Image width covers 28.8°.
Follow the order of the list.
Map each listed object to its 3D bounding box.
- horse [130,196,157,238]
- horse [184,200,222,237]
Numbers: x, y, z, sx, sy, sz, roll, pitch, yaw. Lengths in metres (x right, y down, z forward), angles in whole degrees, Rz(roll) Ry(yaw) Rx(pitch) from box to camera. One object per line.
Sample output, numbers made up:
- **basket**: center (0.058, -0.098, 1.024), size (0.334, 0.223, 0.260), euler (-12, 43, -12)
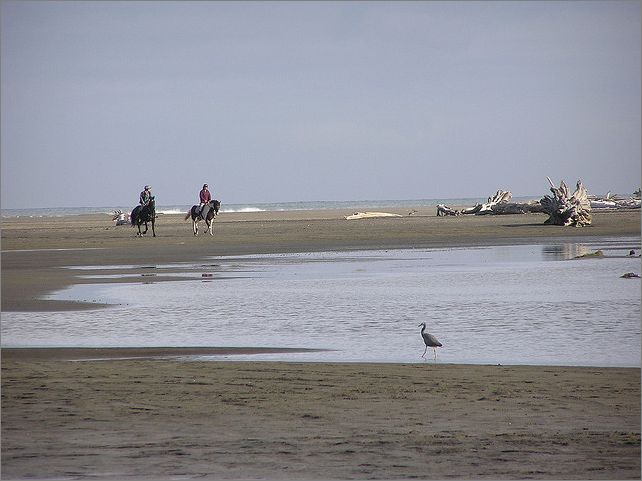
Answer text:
- **horse**: center (-7.765, -1.005, 55.357), size (0.812, 1.677, 3.114), euler (0, -1, -26)
- **horse**: center (-5.252, -1.031, 55.708), size (0.697, 1.507, 2.877), euler (-5, 5, -36)
